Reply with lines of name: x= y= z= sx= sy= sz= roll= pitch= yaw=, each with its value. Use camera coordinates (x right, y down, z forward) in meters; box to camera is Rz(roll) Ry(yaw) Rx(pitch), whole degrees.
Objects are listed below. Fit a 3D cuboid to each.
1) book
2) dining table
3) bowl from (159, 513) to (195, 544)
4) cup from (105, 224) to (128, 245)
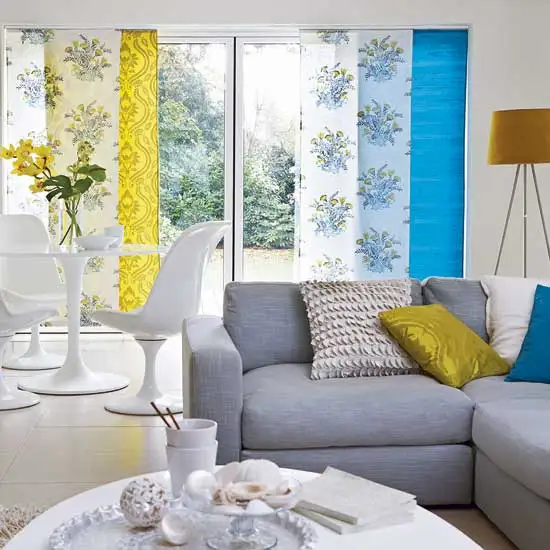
book: x=0.150 y=0.461 z=1.250 sx=0.150 sy=0.037 sz=0.151 roll=11 pitch=12 yaw=36
dining table: x=-0.936 y=0.262 z=3.381 sx=0.887 sy=0.668 sz=0.863 roll=1 pitch=2 yaw=-5
bowl: x=-0.179 y=0.456 z=1.098 sx=0.051 sy=0.044 sz=0.042 roll=0 pitch=6 yaw=-14
cup: x=-0.931 y=-0.224 z=3.527 sx=0.120 sy=0.133 sz=0.121 roll=4 pitch=5 yaw=0
